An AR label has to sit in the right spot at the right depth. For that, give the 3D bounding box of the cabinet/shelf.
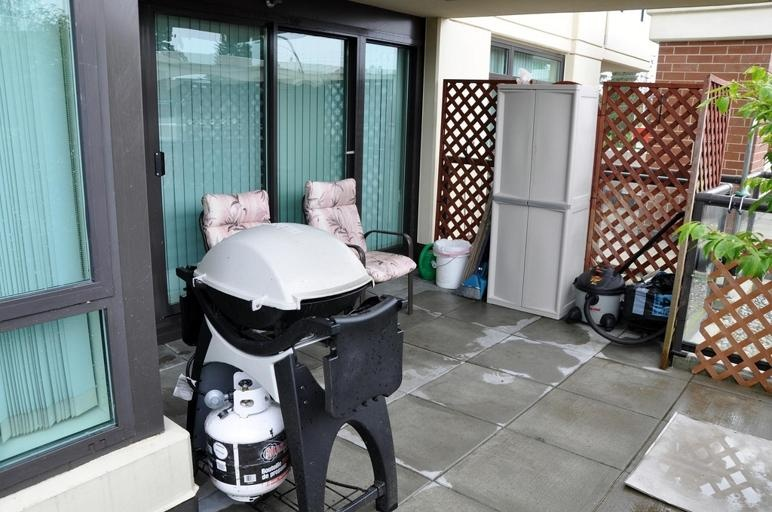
[{"bbox_3d":[1.569,-0.577,5.220,0.661,2.144,0.864,-18,26,-39],"label":"cabinet/shelf"}]

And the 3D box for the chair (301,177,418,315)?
[{"bbox_3d":[-0.238,-0.075,4.859,0.961,1.188,0.804,14,19,33],"label":"chair"}]

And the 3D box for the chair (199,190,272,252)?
[{"bbox_3d":[-1.202,-0.336,4.197,0.521,0.499,0.565,17,25,39],"label":"chair"}]

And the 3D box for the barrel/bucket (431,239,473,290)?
[{"bbox_3d":[0.695,0.077,5.752,0.492,0.483,0.490,1,6,0],"label":"barrel/bucket"}]

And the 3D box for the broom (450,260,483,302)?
[{"bbox_3d":[0.881,0.261,5.355,0.101,0.333,0.253,41,-18,-32],"label":"broom"}]
